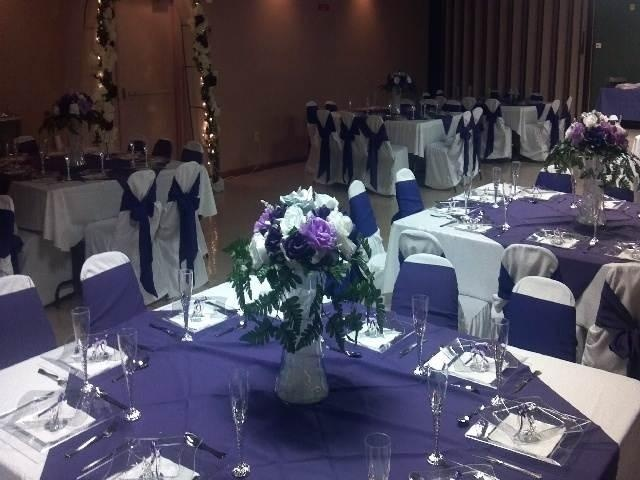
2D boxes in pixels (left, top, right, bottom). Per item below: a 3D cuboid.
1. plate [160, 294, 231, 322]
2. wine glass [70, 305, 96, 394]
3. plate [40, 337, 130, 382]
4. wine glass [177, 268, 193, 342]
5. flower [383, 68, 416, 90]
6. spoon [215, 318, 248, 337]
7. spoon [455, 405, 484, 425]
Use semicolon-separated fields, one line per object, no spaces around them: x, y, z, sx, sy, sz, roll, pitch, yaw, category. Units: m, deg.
-0.642;0.378;2.721;0.183;0.048;0.197;11;19;31;plate
-0.987;0.482;2.152;0.081;0.365;0.086;-10;-6;31;wine glass
-1.087;0.561;2.326;0.225;0.060;0.251;18;18;28;plate
-0.647;0.310;2.431;0.054;0.349;0.062;1;1;6;wine glass
1.333;-2.661;8.558;0.494;0.264;0.322;-4;19;-2;flower
-0.445;0.443;2.518;0.164;0.049;0.062;-29;30;-32;spoon
0.578;0.671;1.956;0.135;0.045;0.048;-27;30;-34;spoon
